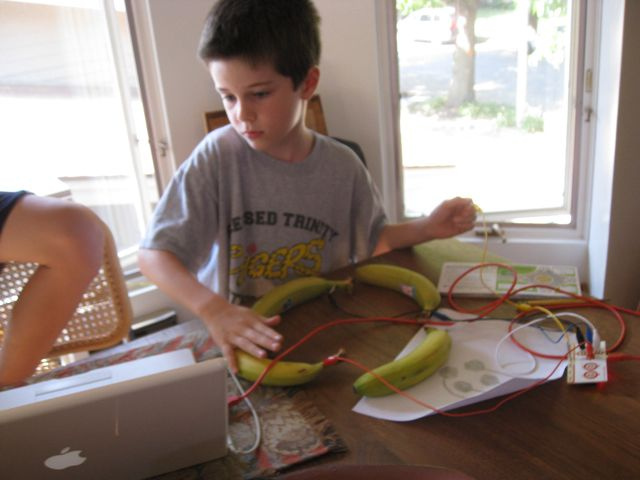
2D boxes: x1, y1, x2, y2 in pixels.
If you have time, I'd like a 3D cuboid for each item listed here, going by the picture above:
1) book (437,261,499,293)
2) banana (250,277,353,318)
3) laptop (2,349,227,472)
[{"bbox_3d":[0.407,0.099,1.424,0.097,0.017,0.113,3,27,21],"label":"book"},{"bbox_3d":[-0.041,0.138,1.392,0.309,0.070,0.101,-17,34,-39],"label":"banana"},{"bbox_3d":[-0.352,0.324,0.919,0.319,0.224,0.223,-11,-21,-9],"label":"laptop"}]
